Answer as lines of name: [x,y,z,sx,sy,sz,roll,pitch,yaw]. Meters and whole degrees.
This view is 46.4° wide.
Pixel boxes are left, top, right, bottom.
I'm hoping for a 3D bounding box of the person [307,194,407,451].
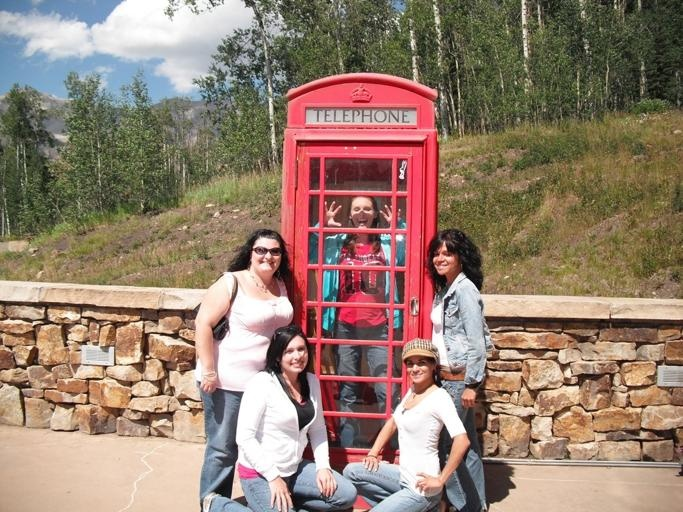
person: [0.345,1.102,13.353,1.408,4.420,1.100,0,16,5]
